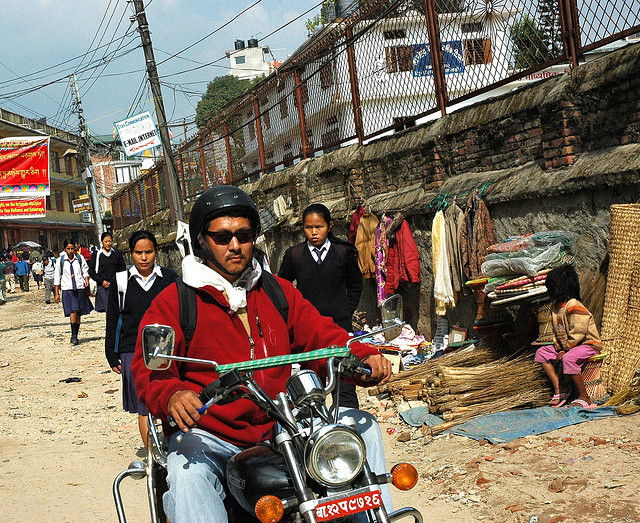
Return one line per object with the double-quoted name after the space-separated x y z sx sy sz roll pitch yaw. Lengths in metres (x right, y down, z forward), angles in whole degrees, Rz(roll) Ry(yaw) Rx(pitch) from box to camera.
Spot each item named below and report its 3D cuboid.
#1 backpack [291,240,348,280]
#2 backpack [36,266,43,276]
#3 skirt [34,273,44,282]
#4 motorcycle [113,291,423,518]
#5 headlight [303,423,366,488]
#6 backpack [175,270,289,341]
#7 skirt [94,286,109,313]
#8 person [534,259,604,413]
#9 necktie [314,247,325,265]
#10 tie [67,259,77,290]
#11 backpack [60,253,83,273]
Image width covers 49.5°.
0.030 0.059 7.650 0.595 0.652 0.478 -6 5 -9 "backpack"
-12.957 0.444 32.157 0.314 0.473 0.171 3 -6 17 "backpack"
-13.358 0.796 33.114 0.404 0.518 0.445 0 2 -35 "skirt"
-0.391 0.863 4.092 1.085 1.245 1.831 0 -4 -28 "motorcycle"
0.070 0.963 3.378 0.244 0.301 0.140 5 -3 -11 "headlight"
-0.595 0.242 4.255 0.430 0.467 0.456 -12 -3 -19 "backpack"
-4.224 0.729 13.455 0.213 0.538 0.904 -7 5 -22 "skirt"
2.470 0.724 6.822 0.632 1.399 0.708 -9 6 -38 "person"
0.003 -0.067 7.433 0.110 0.163 0.090 -5 5 1 "necktie"
-5.231 0.304 14.680 0.159 0.541 0.024 0 -14 -23 "tie"
-5.360 -0.024 14.977 0.349 0.428 0.391 -5 13 -17 "backpack"
